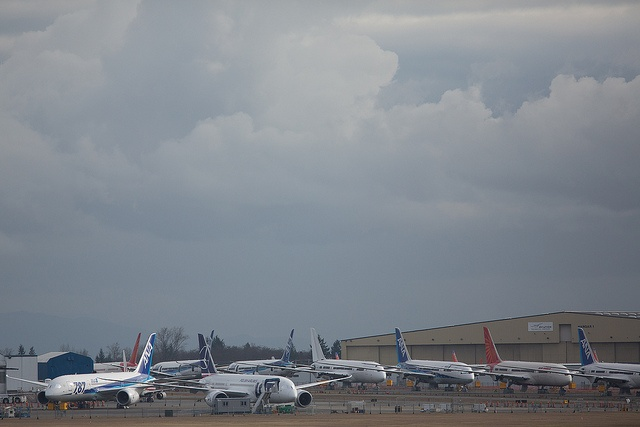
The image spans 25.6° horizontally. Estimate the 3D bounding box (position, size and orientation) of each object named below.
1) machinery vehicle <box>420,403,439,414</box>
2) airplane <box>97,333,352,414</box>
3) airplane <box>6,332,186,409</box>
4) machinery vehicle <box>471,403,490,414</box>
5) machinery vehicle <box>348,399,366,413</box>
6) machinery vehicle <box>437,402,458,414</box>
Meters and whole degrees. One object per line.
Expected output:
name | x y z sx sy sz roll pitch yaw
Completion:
machinery vehicle | 15.339 27.749 198.204 2.302 1.850 3.861 -2 -17 3
airplane | -12.557 25.270 203.673 25.600 9.746 26.330 -6 -7 42
airplane | -31.026 23.123 201.397 16.949 7.953 21.174 -6 -4 6
machinery vehicle | 22.456 27.811 197.304 1.827 1.266 1.028 4 -7 -39
machinery vehicle | 5.148 27.207 197.908 1.187 1.516 2.193 -8 -10 37
machinery vehicle | 17.980 27.719 198.370 3.191 1.755 2.840 -6 -18 15
